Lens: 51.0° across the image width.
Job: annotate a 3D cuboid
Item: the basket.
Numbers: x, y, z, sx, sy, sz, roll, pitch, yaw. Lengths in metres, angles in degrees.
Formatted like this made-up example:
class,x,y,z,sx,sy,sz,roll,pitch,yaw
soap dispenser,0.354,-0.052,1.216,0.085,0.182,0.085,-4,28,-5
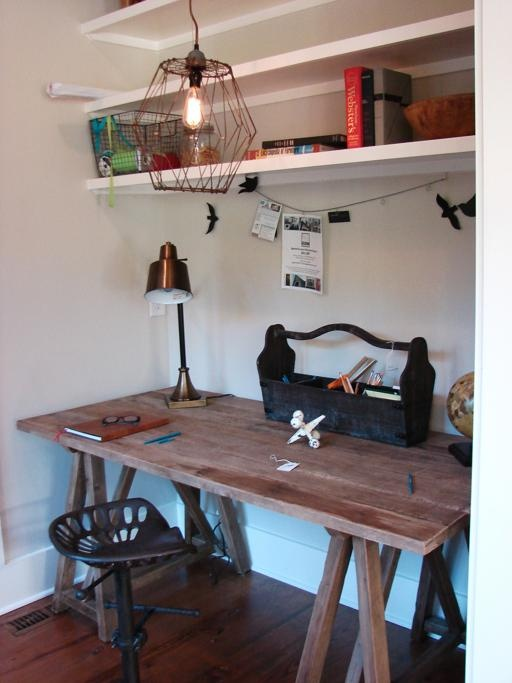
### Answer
class,x,y,z,sx,sy,sz,roll,pitch,yaw
basket,-0.451,-0.754,2.052,0.306,0.223,0.171,4,16,32

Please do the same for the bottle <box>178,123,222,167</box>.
class,x,y,z,sx,sy,sz,roll,pitch,yaw
bottle,-0.198,-0.650,1.816,0.132,0.149,0.130,4,11,14

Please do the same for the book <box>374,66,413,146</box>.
class,x,y,z,sx,sy,sz,roll,pitch,yaw
book,0.384,-0.633,1.476,0.056,0.223,0.223,2,7,32
